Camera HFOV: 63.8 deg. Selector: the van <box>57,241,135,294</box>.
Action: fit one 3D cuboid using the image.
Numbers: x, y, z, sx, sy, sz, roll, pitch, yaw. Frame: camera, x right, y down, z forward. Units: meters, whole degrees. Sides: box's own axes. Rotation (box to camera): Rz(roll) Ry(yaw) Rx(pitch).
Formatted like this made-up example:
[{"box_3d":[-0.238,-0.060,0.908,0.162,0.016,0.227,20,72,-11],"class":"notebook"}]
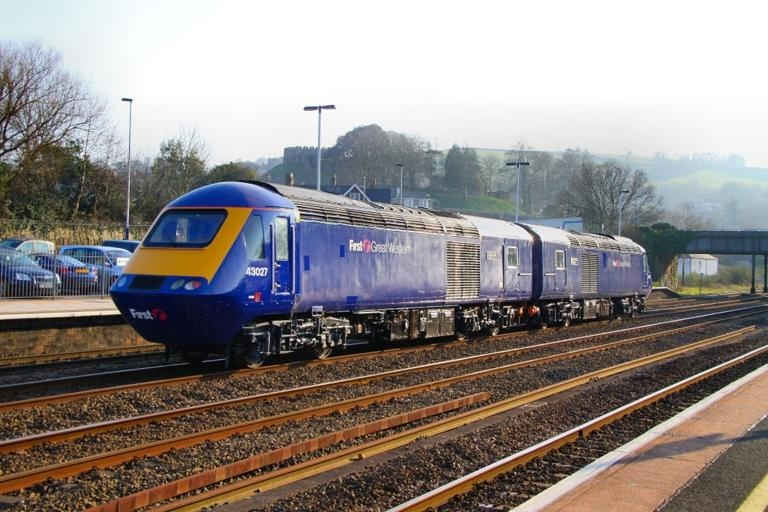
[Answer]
[{"box_3d":[-11.182,0.503,23.599,1.869,1.432,3.043,2,5,25],"class":"van"}]
